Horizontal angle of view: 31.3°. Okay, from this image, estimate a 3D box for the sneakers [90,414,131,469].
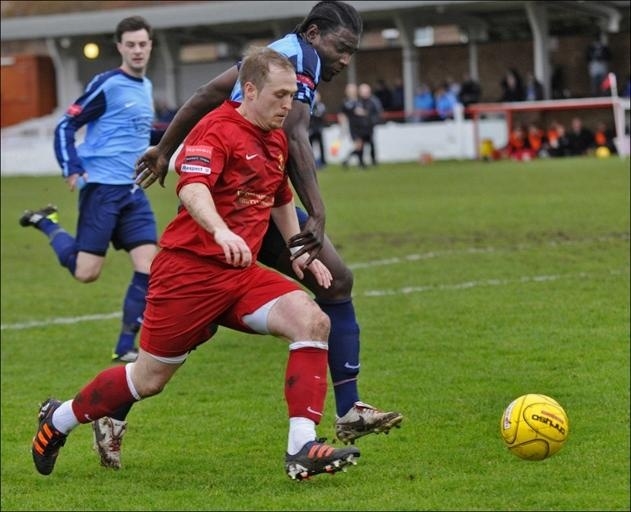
[{"bbox_3d":[-1.271,1.142,7.149,0.289,0.406,0.140,-7,0,18],"label":"sneakers"}]

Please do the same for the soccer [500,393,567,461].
[{"bbox_3d":[1.322,1.020,6.910,0.393,0.367,0.386,14,40,25],"label":"soccer"}]

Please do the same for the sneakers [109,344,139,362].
[{"bbox_3d":[-1.526,0.767,8.787,0.289,0.126,0.103,-2,0,6],"label":"sneakers"}]

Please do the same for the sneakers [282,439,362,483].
[{"bbox_3d":[0.020,1.164,6.522,0.498,0.234,0.175,-19,-18,8],"label":"sneakers"}]

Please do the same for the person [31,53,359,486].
[{"bbox_3d":[-0.657,0.050,6.640,1.638,2.463,0.867,-3,4,-5],"label":"person"}]

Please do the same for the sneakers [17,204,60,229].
[{"bbox_3d":[-1.995,-0.281,8.140,0.335,0.124,0.143,-8,-1,-6],"label":"sneakers"}]
